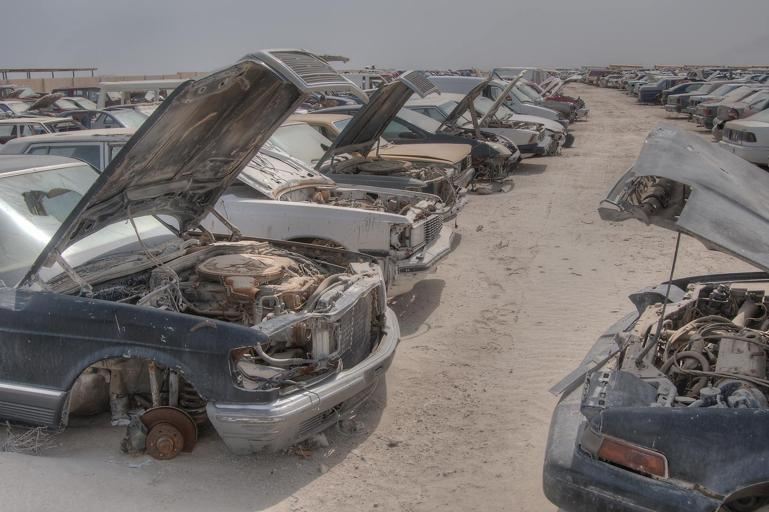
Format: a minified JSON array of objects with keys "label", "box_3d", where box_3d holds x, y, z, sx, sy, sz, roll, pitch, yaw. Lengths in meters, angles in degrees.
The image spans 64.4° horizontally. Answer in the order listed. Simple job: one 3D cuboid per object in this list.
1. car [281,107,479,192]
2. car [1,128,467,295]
[{"label":"car","box_3d":[0.137,-1.655,10.652,3.671,0.702,1.634,2,21,9]},{"label":"car","box_3d":[-2.489,-0.667,8.278,6.852,1.258,2.405,4,17,10]}]
